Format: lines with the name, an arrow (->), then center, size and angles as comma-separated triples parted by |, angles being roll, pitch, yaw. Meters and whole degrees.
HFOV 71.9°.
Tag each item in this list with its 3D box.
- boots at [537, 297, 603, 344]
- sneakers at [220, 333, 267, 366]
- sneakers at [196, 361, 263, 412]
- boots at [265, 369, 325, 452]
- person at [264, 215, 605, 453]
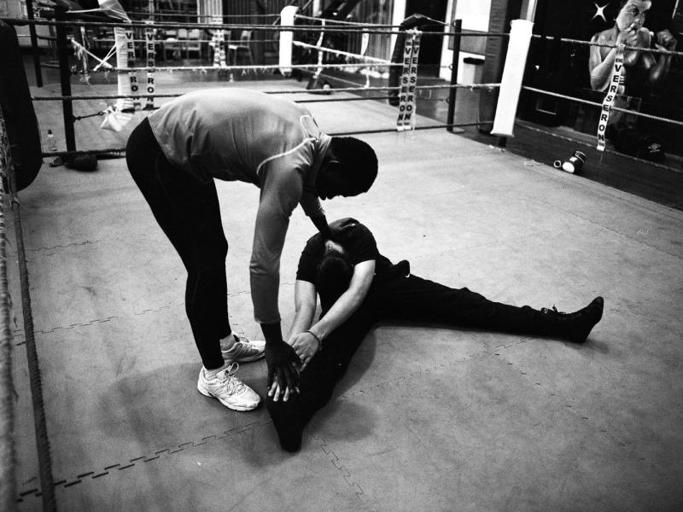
boots -> 1.270, 0.369, 2.605 | 0.344, 0.254, 0.118 | 16, 25, 37
sneakers -> -0.480, 0.456, 2.388 | 0.263, 0.123, 0.100 | -7, 22, -38
sneakers -> -0.495, 0.594, 2.159 | 0.332, 0.156, 0.142 | 20, 26, 4
boots -> -0.183, 0.634, 2.009 | 0.120, 0.174, 0.397 | 8, 19, 8
person -> 0.275, 0.364, 2.374 | 1.436, 0.520, 0.998 | -35, 16, -30
